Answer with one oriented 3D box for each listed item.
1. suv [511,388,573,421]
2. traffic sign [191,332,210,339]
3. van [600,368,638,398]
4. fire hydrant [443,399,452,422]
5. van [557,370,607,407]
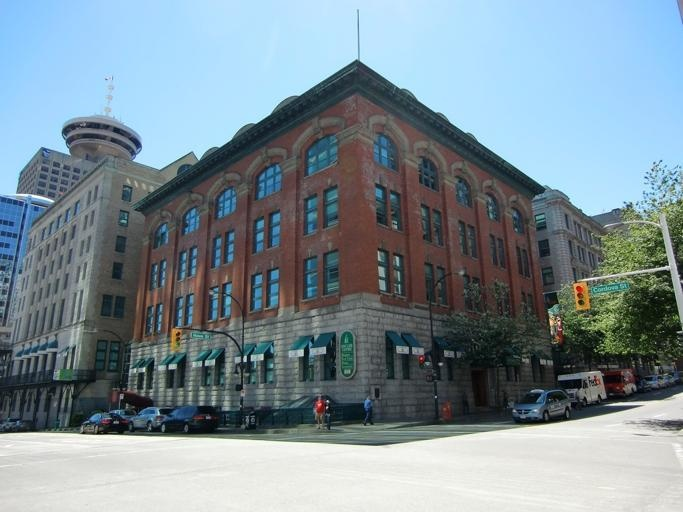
[{"bbox_3d":[12.570,9.512,31.114,4.124,1.798,2.215,8,-16,-37],"label":"suv"},{"bbox_3d":[-11.598,6.604,40.495,1.287,0.295,1.192,5,-9,-19],"label":"traffic sign"},{"bbox_3d":[28.905,13.785,52.219,3.010,2.532,5.014,-18,-33,38],"label":"van"},{"bbox_3d":[6.946,10.473,32.829,0.470,1.128,1.695,-7,-21,10],"label":"fire hydrant"},{"bbox_3d":[21.526,12.060,44.551,5.384,2.652,2.829,10,-18,-44],"label":"van"}]
